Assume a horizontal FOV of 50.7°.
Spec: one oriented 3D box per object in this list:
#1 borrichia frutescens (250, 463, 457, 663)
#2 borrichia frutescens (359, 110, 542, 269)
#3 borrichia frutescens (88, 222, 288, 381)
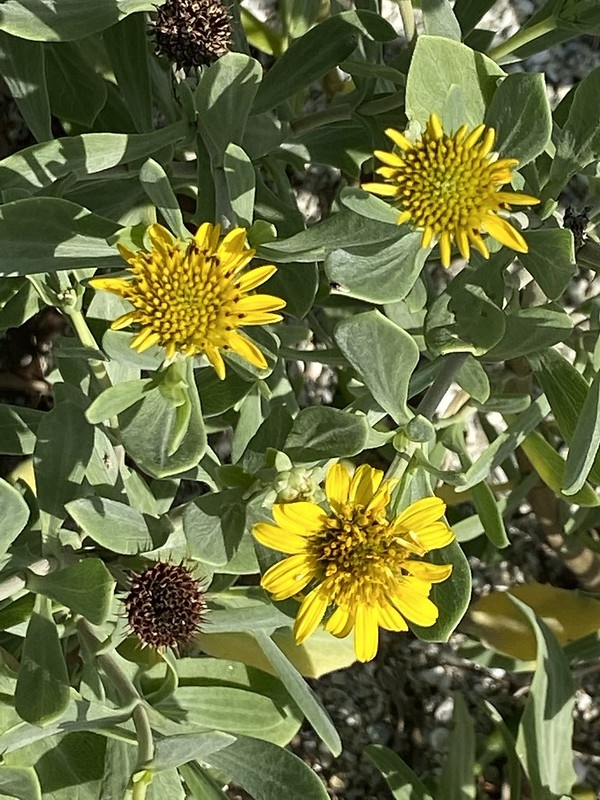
[{"bbox_3d":[0.044,0.162,0.736,0.241,0.093,0.225,-17,84,-15],"label":"borrichia frutescens"},{"bbox_3d":[0.155,-0.214,0.656,0.152,0.133,0.164,-9,79,-1],"label":"borrichia frutescens"},{"bbox_3d":[-0.114,-0.115,0.677,0.185,0.151,0.069,21,46,-22],"label":"borrichia frutescens"}]
